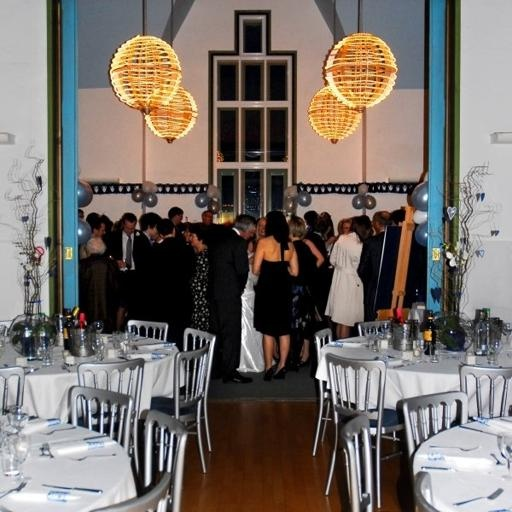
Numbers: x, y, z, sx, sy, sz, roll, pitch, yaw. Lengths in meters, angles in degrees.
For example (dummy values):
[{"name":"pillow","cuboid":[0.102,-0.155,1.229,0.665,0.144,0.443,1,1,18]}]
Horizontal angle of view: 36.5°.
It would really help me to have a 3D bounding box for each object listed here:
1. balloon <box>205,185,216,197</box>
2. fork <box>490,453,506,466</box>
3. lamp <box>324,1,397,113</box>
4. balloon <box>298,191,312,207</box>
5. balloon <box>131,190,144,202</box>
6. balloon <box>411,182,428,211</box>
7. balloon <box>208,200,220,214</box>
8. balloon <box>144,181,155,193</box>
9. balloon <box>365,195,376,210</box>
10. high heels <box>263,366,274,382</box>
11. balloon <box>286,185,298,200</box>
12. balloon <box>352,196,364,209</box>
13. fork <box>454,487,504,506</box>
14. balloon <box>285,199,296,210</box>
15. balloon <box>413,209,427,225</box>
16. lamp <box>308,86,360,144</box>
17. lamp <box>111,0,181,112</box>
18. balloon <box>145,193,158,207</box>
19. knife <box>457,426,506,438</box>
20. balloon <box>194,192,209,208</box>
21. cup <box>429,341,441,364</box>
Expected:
[{"name":"balloon","cuboid":[-0.670,-0.978,11.754,0.182,0.184,0.219,-1,9,-4]},{"name":"fork","cuboid":[1.061,0.898,3.432,0.028,0.013,0.061,-4,28,5]},{"name":"lamp","cuboid":[0.867,-1.555,6.624,0.593,0.819,0.618,8,12,42]},{"name":"balloon","cuboid":[0.692,-0.851,11.479,0.202,0.210,0.342,-1,9,1]},{"name":"balloon","cuboid":[-1.770,-0.902,11.584,0.169,0.189,0.270,-2,9,-11]},{"name":"balloon","cuboid":[1.364,-0.506,6.509,0.154,0.228,0.194,2,-40,10]},{"name":"balloon","cuboid":[-0.661,-0.768,11.958,0.149,0.205,0.183,-2,-11,0]},{"name":"balloon","cuboid":[-1.582,-1.024,11.500,0.145,0.145,0.127,-13,22,16]},{"name":"balloon","cuboid":[1.687,-0.804,11.517,0.146,0.210,0.232,5,10,35]},{"name":"high heels","cuboid":[0.100,1.060,6.980,0.054,0.194,0.052,3,-4,18]},{"name":"balloon","cuboid":[0.519,-0.972,11.779,0.192,0.173,0.456,0,10,2]},{"name":"balloon","cuboid":[1.487,-0.816,11.609,0.126,0.206,0.253,-3,9,-18]},{"name":"fork","cuboid":[0.914,0.989,3.175,0.245,0.017,0.054,-5,11,-24]},{"name":"balloon","cuboid":[0.500,-0.781,11.715,0.126,0.160,0.141,-3,5,-18]},{"name":"balloon","cuboid":[1.401,-0.329,6.703,0.098,0.126,0.134,9,-25,18]},{"name":"lamp","cuboid":[0.856,-1.620,9.082,0.575,0.828,0.610,0,4,-11]},{"name":"lamp","cuboid":[-0.915,-1.521,6.538,0.517,0.713,0.581,-2,4,-4]},{"name":"balloon","cuboid":[-1.567,-0.848,11.589,0.161,0.209,0.256,5,10,32]},{"name":"knife","cuboid":[1.121,0.852,3.757,0.374,0.022,0.058,8,23,-25]},{"name":"balloon","cuboid":[-0.855,-0.877,11.882,0.181,0.205,0.159,17,38,-20]},{"name":"cup","cuboid":[1.107,0.625,4.918,0.066,0.148,0.074,-1,1,-9]}]
